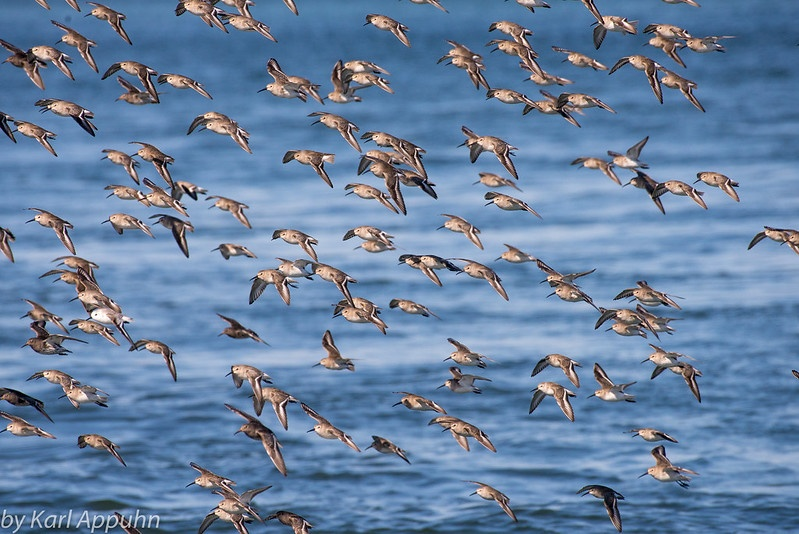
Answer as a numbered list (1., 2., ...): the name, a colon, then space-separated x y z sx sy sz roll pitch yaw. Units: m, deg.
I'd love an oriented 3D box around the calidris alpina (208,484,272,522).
1. calidris alpina: -3.410 5.131 27.971 1.392 0.294 1.701 -9 10 -16
